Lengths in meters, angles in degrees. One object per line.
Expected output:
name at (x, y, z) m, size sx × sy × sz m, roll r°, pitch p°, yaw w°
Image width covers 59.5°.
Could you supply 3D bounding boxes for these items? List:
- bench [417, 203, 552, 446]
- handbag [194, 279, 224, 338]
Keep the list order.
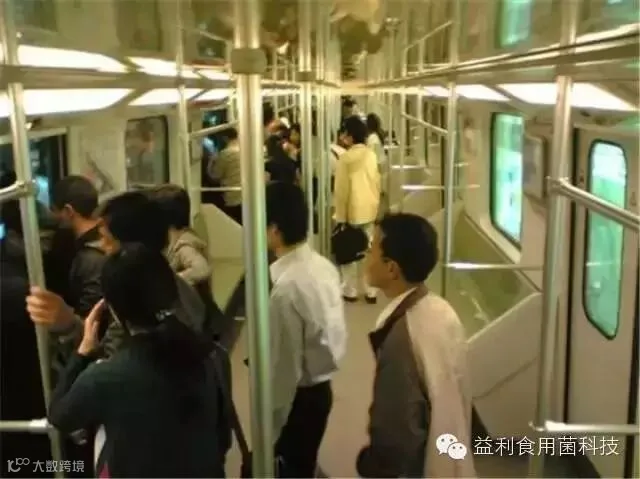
bench at (1.091, 0.437, 3.957) m, size 0.362 × 0.764 × 1.196 m, roll -17°, pitch 29°, yaw -7°
handbag at (-0.452, 0.293, 2.274) m, size 0.091 × 0.251 × 0.201 m, roll 0°, pitch 11°, yaw 2°
